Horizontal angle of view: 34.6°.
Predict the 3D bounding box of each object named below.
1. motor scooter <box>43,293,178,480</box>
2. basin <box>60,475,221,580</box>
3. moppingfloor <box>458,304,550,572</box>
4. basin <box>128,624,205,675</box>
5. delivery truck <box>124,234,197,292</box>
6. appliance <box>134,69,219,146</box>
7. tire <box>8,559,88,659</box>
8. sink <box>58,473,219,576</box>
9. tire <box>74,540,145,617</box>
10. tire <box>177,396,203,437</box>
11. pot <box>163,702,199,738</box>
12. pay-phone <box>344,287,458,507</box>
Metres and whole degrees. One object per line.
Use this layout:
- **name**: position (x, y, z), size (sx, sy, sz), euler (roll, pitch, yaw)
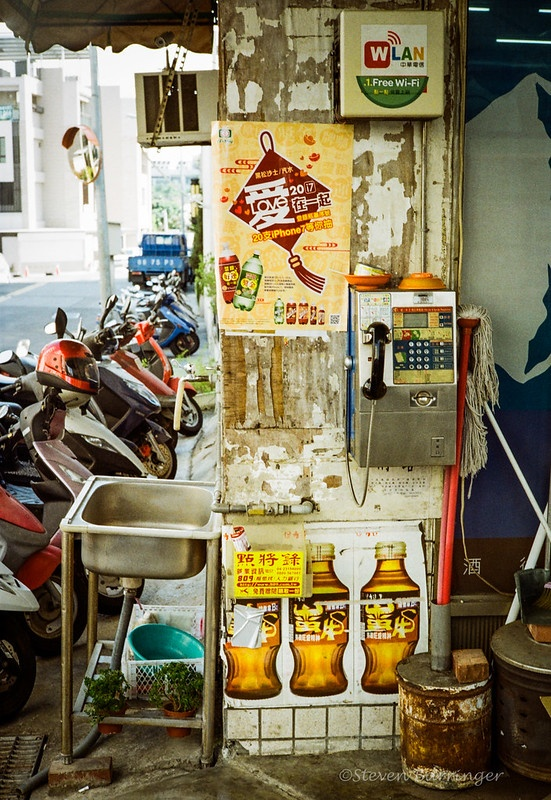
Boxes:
- **motor scooter**: position (-1.423, -0.038, 6.483), size (1.383, 1.137, 0.841), euler (6, 14, 10)
- **basin**: position (-0.483, 0.502, 3.563), size (0.559, 0.294, 0.692), euler (6, 17, 4)
- **moppingfloor**: position (0.880, 0.137, 3.459), size (0.411, 1.007, 0.310), euler (2, 10, 4)
- **basin**: position (-0.481, 1.112, 3.889), size (0.317, 0.173, 0.387), euler (0, 11, -5)
- **delivery truck**: position (-2.681, -3.107, 21.663), size (1.464, 1.564, 2.838), euler (0, 14, 0)
- **appliance**: position (-0.449, -1.312, 4.000), size (0.390, 0.313, 0.120), euler (6, 11, 23)
- **tire**: position (-1.110, 1.031, 4.470), size (0.441, 0.497, 0.176), euler (4, -8, 12)
- **sink**: position (-0.509, 0.544, 3.552), size (0.579, 0.311, 0.692), euler (0, 11, -4)
- **tire**: position (-0.874, 0.967, 4.860), size (0.241, 0.273, 0.098), euler (-5, 3, 8)
- **tire**: position (-0.728, 0.158, 7.624), size (0.091, 0.333, 0.330), euler (-9, -10, 19)
- **pot**: position (-0.371, 1.305, 3.583), size (0.147, 0.121, 0.149), euler (2, 6, 0)
- **pay-phone**: position (0.461, -0.074, 3.137), size (0.351, 0.626, 0.157), euler (-2, 10, -15)
